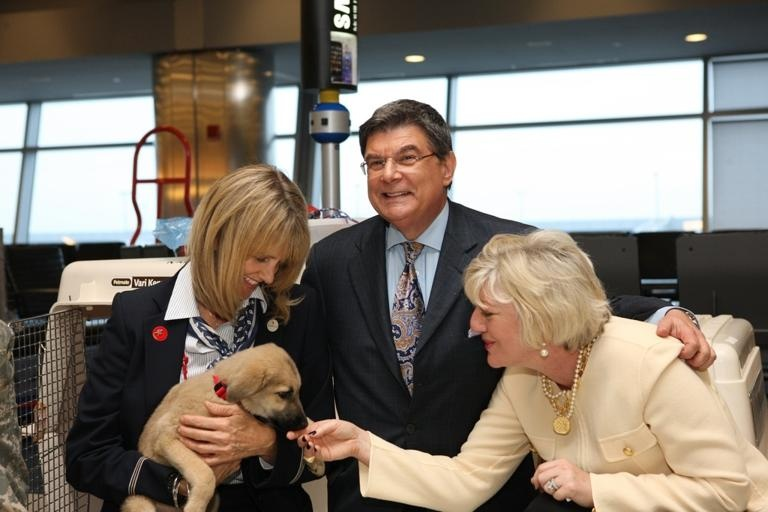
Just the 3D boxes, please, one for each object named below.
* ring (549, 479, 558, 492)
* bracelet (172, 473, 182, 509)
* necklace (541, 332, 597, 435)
[{"bbox_3d":[0.785,1.086,3.187,0.049,0.043,0.018,27,-15,-6],"label":"ring"},{"bbox_3d":[-0.999,1.121,3.243,0.040,0.121,0.089,1,-3,-7],"label":"bracelet"},{"bbox_3d":[0.895,0.649,3.314,0.107,0.408,0.293,16,-24,-33],"label":"necklace"}]
